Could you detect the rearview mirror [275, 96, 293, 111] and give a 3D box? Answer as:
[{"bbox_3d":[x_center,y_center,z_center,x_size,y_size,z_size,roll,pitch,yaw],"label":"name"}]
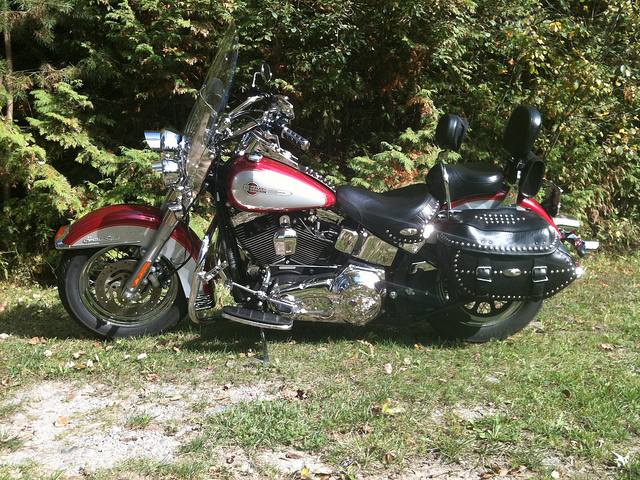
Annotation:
[{"bbox_3d":[-0.281,-1.032,4.231,0.115,0.036,0.106,19,-24,26],"label":"rearview mirror"}]
